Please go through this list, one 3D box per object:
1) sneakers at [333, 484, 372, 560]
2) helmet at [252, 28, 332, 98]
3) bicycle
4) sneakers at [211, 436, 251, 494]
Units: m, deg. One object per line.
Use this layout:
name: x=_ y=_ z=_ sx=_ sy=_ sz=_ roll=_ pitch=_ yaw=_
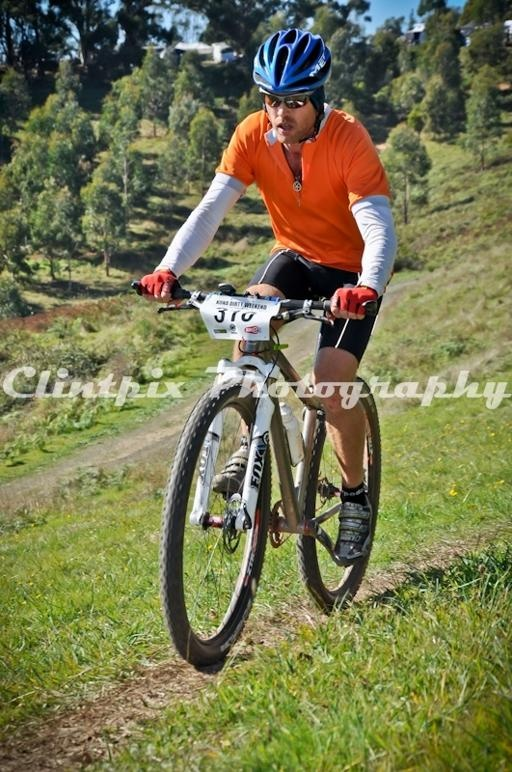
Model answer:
sneakers: x=0.501 y=0.702 z=3.796 sx=0.152 sy=0.416 sz=0.185 roll=0 pitch=-32 yaw=18
helmet: x=0.179 y=-1.449 z=3.297 sx=0.335 sy=0.162 sz=0.441 roll=15 pitch=48 yaw=19
bicycle: x=0.086 y=0.349 z=3.409 sx=0.799 sy=1.663 sz=1.609 roll=-12 pitch=1 yaw=18
sneakers: x=-0.093 y=0.358 z=3.120 sx=0.106 sy=0.215 sz=0.252 roll=-12 pitch=1 yaw=18
